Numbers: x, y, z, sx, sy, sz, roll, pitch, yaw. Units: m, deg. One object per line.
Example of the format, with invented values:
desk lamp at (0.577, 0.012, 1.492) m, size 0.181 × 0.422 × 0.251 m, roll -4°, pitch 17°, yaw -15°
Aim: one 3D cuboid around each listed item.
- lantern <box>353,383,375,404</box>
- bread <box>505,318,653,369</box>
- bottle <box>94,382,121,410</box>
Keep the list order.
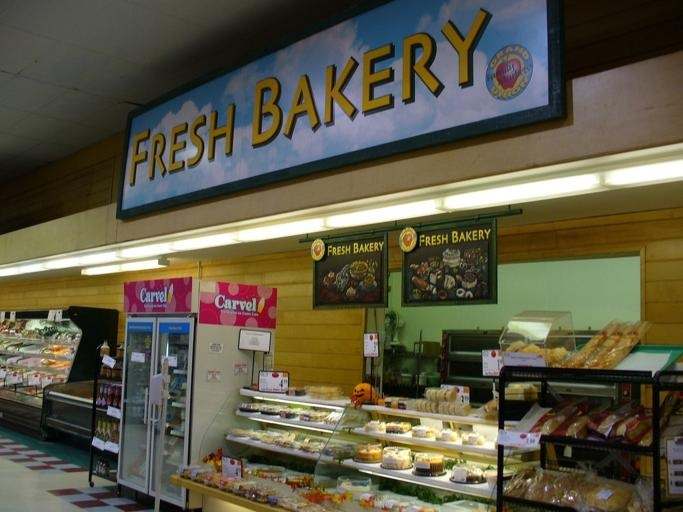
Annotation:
lantern at (0.240, 1.426, 5.557) m, size 0.197 × 0.179 × 0.153 m, roll 6°, pitch -8°, yaw 8°
bread at (1.810, 0.665, 4.058) m, size 0.923 × 0.352 × 0.408 m, roll -1°, pitch -7°, yaw 25°
bottle at (-3.291, 1.990, 7.605) m, size 0.370 × 0.524 × 0.148 m, roll -4°, pitch -9°, yaw 38°
